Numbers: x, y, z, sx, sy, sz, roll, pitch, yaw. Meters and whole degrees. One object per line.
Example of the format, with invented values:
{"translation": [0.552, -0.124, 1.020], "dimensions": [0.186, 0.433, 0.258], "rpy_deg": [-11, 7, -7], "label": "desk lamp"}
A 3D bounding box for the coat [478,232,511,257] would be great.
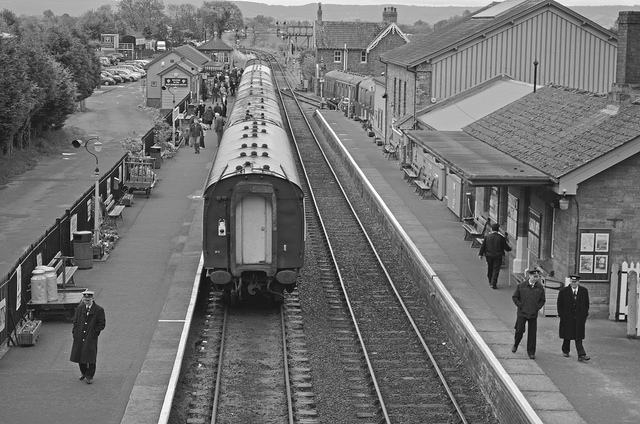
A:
{"translation": [5.341, 0.986, 23.032], "dimensions": [0.846, 1.191, 0.503], "rpy_deg": [5, 14, 16], "label": "coat"}

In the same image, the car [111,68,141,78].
{"translation": [-24.604, -17.474, 96.783], "dimensions": [3.310, 0.919, 1.437], "rpy_deg": [1, 14, 0], "label": "car"}

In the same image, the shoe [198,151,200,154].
{"translation": [-7.062, -3.492, 44.687], "dimensions": [0.097, 0.140, 0.386], "rpy_deg": [2, 6, -14], "label": "shoe"}

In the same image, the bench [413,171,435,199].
{"translation": [4.755, -1.180, 34.296], "dimensions": [0.567, 0.727, 1.299], "rpy_deg": [1, 14, -3], "label": "bench"}

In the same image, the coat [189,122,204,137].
{"translation": [-7.175, -4.803, 44.551], "dimensions": [0.639, 0.841, 0.901], "rpy_deg": [3, 6, -1], "label": "coat"}

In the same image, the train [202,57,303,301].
{"translation": [-2.006, -0.504, 23.033], "dimensions": [5.099, 5.552, 10.951], "rpy_deg": [-1, 3, -7], "label": "train"}

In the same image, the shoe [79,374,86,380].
{"translation": [-5.473, 3.744, 17.536], "dimensions": [0.102, 0.125, 0.276], "rpy_deg": [0, 6, -25], "label": "shoe"}

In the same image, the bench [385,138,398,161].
{"translation": [4.154, -3.538, 43.616], "dimensions": [0.424, 0.565, 1.656], "rpy_deg": [1, 15, 0], "label": "bench"}

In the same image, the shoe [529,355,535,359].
{"translation": [5.092, 3.424, 18.183], "dimensions": [0.127, 0.085, 0.067], "rpy_deg": [2, 6, -6], "label": "shoe"}

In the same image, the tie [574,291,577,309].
{"translation": [6.183, 2.075, 18.351], "dimensions": [0.061, 0.319, 0.026], "rpy_deg": [3, -4, 3], "label": "tie"}

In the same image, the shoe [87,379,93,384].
{"translation": [-5.220, 3.837, 17.397], "dimensions": [0.071, 0.100, 0.131], "rpy_deg": [8, 8, 40], "label": "shoe"}

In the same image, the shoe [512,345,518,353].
{"translation": [4.743, 3.278, 18.452], "dimensions": [0.115, 0.172, 0.154], "rpy_deg": [4, 6, 10], "label": "shoe"}

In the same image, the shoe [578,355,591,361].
{"translation": [6.356, 3.443, 18.174], "dimensions": [0.323, 0.119, 0.108], "rpy_deg": [-4, 20, 11], "label": "shoe"}
